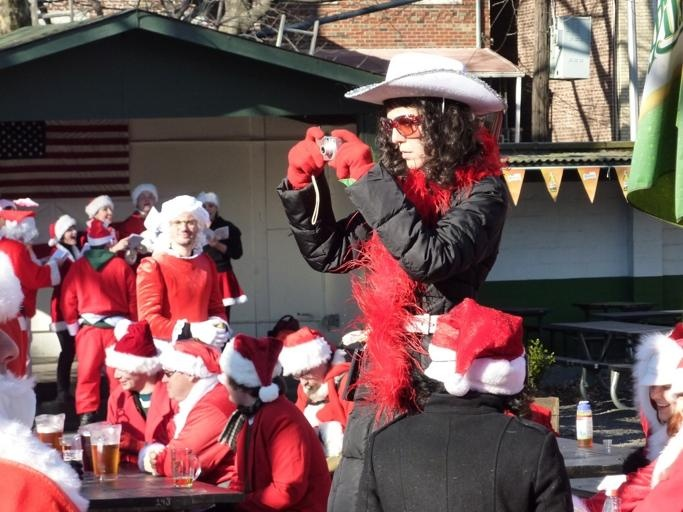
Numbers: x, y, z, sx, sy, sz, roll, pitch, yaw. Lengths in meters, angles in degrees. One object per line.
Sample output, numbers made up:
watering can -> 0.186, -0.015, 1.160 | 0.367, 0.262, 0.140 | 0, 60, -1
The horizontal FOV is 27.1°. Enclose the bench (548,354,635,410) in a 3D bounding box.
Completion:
bench -> 3.074, 1.418, 17.304 | 1.005, 0.474, 0.729 | 0, -9, 20

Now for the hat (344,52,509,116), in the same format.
hat -> 0.751, -1.377, 11.215 | 0.695, 0.201, 0.654 | 6, -8, -7

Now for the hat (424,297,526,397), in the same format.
hat -> 1.065, 0.707, 11.112 | 0.761, 0.708, 0.794 | 2, 2, -21

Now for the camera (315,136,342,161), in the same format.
camera -> -0.097, -0.862, 11.248 | 0.218, 0.202, 0.063 | -2, 1, 1

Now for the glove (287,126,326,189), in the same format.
glove -> -0.286, -0.831, 11.300 | 0.343, 0.452, 0.221 | -14, -27, 40
